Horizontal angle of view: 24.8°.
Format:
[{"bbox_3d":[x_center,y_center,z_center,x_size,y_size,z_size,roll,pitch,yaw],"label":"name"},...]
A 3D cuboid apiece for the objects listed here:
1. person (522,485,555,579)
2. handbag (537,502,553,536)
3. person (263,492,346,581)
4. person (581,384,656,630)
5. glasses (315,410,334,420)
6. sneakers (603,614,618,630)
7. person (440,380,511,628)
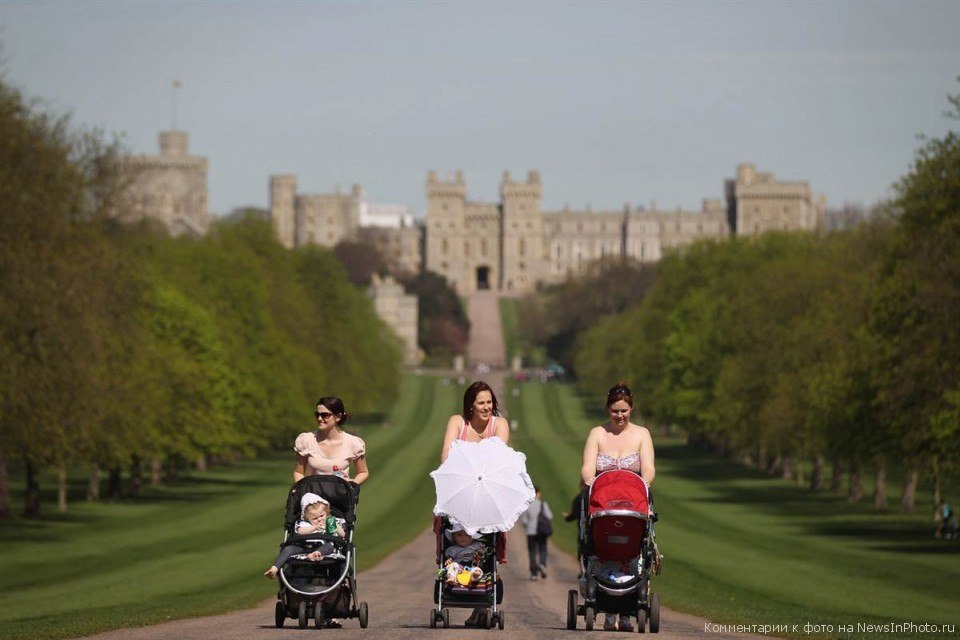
[{"bbox_3d":[1.223,4.523,44.209,0.659,2.143,0.705,0,2,-11],"label":"person"},{"bbox_3d":[1.263,4.059,43.951,0.312,0.675,0.586,0,-16,0],"label":"handbag"},{"bbox_3d":[-2.787,3.492,35.549,1.147,1.235,0.456,-3,1,-6],"label":"person"},{"bbox_3d":[2.222,2.436,35.628,0.746,2.660,1.097,0,-1,5],"label":"person"},{"bbox_3d":[-2.611,1.587,35.564,0.337,0.116,0.178,-4,0,41],"label":"glasses"},{"bbox_3d":[2.144,5.090,36.125,0.244,0.287,0.466,-1,-9,3],"label":"sneakers"},{"bbox_3d":[-0.086,2.625,35.713,0.855,3.199,1.119,0,-1,0],"label":"person"}]
